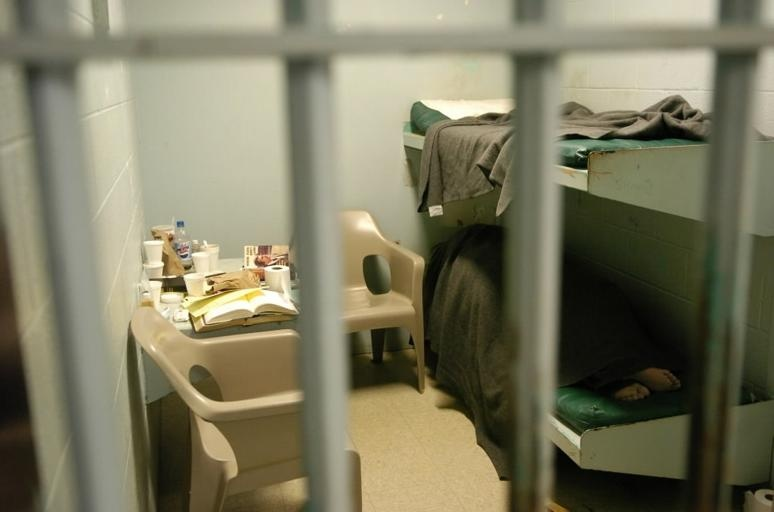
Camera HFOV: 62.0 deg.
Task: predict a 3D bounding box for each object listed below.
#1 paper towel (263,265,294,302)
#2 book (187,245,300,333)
[{"bbox_3d":[-0.368,0.078,2.174,0.098,0.096,0.166,-3,50,-4],"label":"paper towel"},{"bbox_3d":[-0.478,0.041,2.014,0.289,0.152,0.387,-9,11,-15],"label":"book"}]
